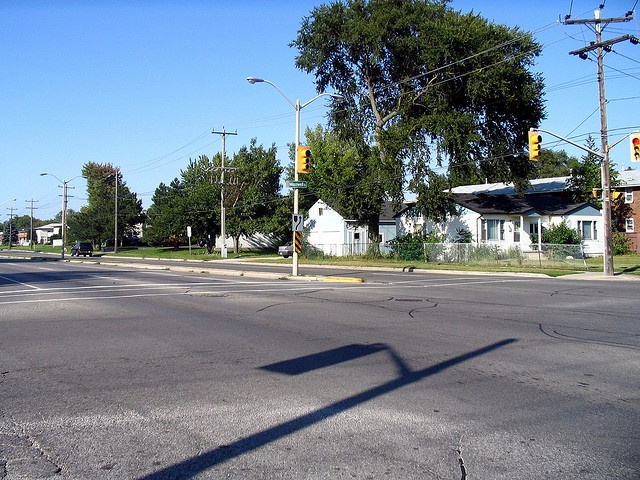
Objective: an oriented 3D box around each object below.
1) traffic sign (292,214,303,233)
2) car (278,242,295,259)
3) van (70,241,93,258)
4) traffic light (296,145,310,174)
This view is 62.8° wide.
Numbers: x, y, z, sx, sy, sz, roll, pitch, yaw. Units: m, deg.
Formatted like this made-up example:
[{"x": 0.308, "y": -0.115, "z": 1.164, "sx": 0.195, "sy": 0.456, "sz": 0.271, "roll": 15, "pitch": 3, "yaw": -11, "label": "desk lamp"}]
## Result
[{"x": -1.193, "y": -0.886, "z": 27.129, "sx": 0.508, "sy": 0.921, "sz": 0.800, "roll": -1, "pitch": 2, "yaw": -6, "label": "traffic sign"}, {"x": -3.335, "y": 1.054, "z": 51.616, "sx": 1.262, "sy": 1.087, "sz": 2.983, "roll": -1, "pitch": -5, "yaw": 0, "label": "car"}, {"x": -31.318, "y": 1.241, "z": 69.386, "sx": 1.970, "sy": 1.981, "sz": 3.600, "roll": 0, "pitch": 5, "yaw": -35, "label": "van"}, {"x": -0.862, "y": -4.079, "z": 26.253, "sx": 0.585, "sy": 1.365, "sz": 1.361, "roll": -1, "pitch": 2, "yaw": -2, "label": "traffic light"}]
